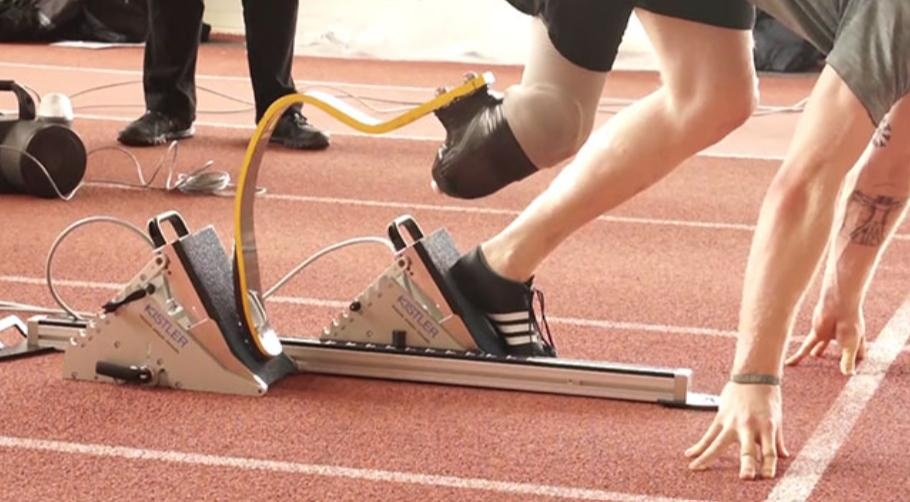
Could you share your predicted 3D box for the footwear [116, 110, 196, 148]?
[{"bbox_3d":[-2.153,-0.884,5.336,0.251,0.133,0.493,9,12,24],"label":"footwear"}]
